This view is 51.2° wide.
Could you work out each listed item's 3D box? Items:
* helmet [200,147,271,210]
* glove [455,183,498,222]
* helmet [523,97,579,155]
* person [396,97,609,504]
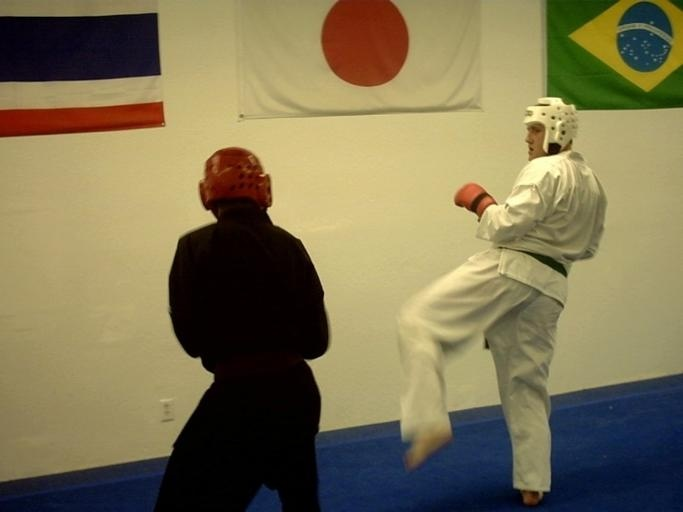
[{"bbox_3d":[-0.508,-0.372,3.408,0.237,0.282,0.339,1,-33,-7],"label":"helmet"},{"bbox_3d":[0.751,-0.302,4.062,0.113,0.138,0.243,-42,49,-11],"label":"glove"},{"bbox_3d":[1.134,-0.711,3.937,0.274,0.307,0.250,0,1,7],"label":"helmet"},{"bbox_3d":[0.861,0.382,3.689,1.152,1.712,0.727,-3,13,2],"label":"person"}]
